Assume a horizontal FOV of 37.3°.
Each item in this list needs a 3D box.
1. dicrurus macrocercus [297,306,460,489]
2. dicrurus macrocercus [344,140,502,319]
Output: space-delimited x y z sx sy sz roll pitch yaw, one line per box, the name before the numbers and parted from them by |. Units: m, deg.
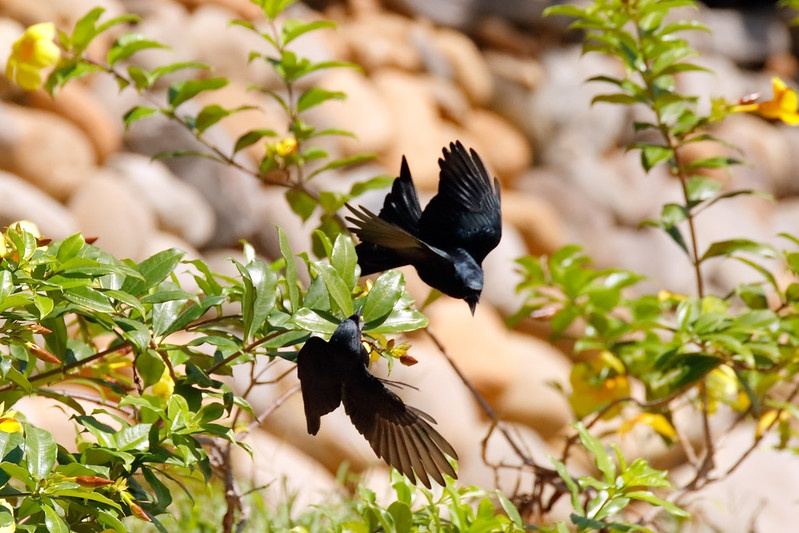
dicrurus macrocercus | -0.011 0.400 3.942 0.557 0.242 0.515 24 -70 34
dicrurus macrocercus | 0.090 -0.058 4.004 0.451 0.640 0.289 22 -61 16
